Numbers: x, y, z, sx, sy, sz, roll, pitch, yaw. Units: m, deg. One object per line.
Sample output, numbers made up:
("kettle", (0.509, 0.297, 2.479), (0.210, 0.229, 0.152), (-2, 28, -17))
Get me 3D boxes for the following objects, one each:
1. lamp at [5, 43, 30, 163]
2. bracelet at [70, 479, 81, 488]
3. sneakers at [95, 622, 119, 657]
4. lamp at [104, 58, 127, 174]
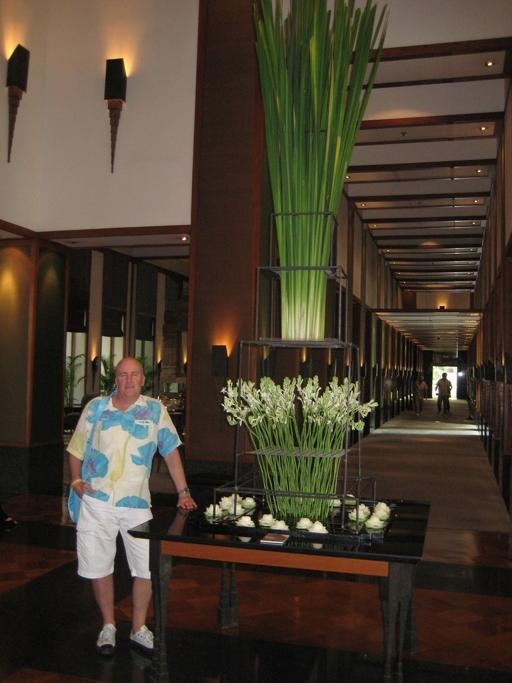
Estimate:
("lamp", (-2.631, -2.616, 5.615), (0.190, 1.262, 0.249), (1, -5, -8))
("bracelet", (-0.718, 0.562, 2.041), (0.035, 0.009, 0.037), (-4, 7, -13))
("sneakers", (-0.602, 1.197, 2.056), (0.053, 0.070, 0.152), (4, -14, -10))
("lamp", (-1.553, -2.514, 5.651), (0.236, 1.243, 0.152), (-2, -5, 32))
